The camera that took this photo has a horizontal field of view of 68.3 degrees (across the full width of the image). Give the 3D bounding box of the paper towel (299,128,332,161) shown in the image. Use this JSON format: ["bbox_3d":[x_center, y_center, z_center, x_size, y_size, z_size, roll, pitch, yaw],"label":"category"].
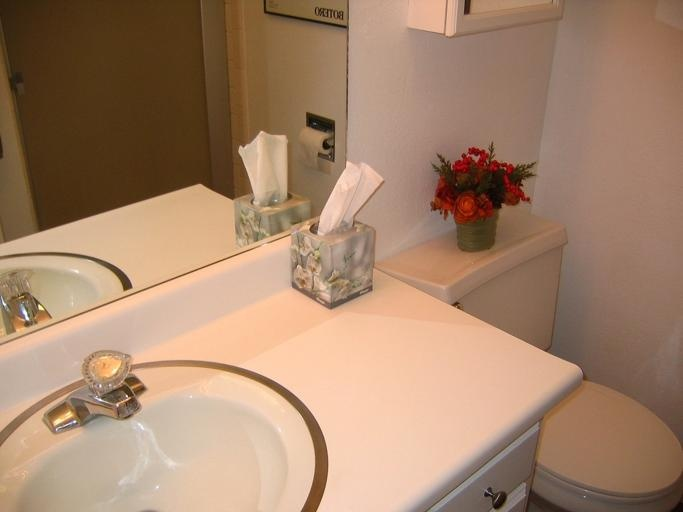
[{"bbox_3d":[-0.069,-0.261,1.196,0.055,0.079,0.077,1,16,-31],"label":"paper towel"}]

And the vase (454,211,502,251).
[{"bbox_3d":[0.403,-0.085,1.510,0.139,0.126,0.135,-5,12,-6],"label":"vase"}]

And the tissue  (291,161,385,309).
[{"bbox_3d":[-0.021,-0.043,1.141,0.171,0.349,0.170,-22,37,-33],"label":"tissue "}]

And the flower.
[{"bbox_3d":[0.396,-0.213,1.499,0.287,0.246,0.298,0,28,-1],"label":"flower"}]

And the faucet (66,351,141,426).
[{"bbox_3d":[-0.407,0.227,0.854,0.112,0.100,0.083,-18,33,-31],"label":"faucet"}]
